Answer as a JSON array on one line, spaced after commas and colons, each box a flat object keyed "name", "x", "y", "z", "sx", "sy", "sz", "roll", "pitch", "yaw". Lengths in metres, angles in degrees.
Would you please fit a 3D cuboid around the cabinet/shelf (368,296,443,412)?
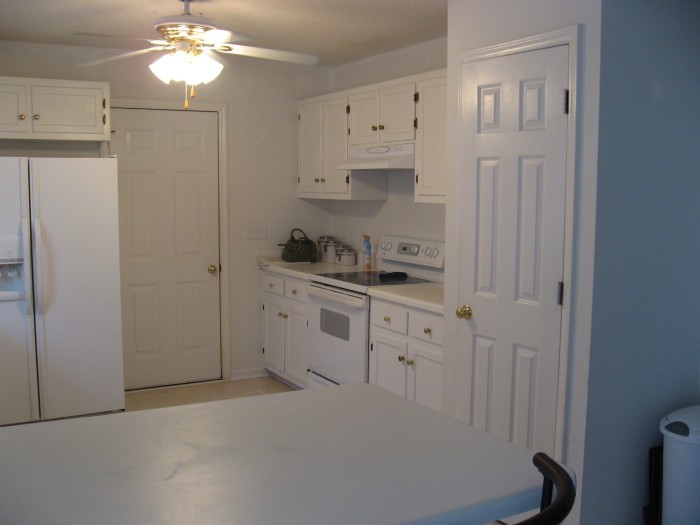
[{"name": "cabinet/shelf", "x": 0.354, "y": 0.529, "z": 3.347, "sx": 0.321, "sy": 0.564, "sz": 0.610, "roll": 0, "pitch": 4, "yaw": -31}]

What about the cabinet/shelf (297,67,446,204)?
[{"name": "cabinet/shelf", "x": 0.093, "y": -0.929, "z": 4.394, "sx": 0.249, "sy": 0.932, "sz": 1.829, "roll": -4, "pitch": 11, "yaw": -31}]

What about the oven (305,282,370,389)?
[{"name": "oven", "x": 0.005, "y": 0.522, "z": 4.341, "sx": 0.569, "sy": 0.792, "sz": 0.513, "roll": 13, "pitch": 15, "yaw": 40}]

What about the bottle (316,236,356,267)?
[{"name": "bottle", "x": -0.119, "y": -0.106, "z": 5.187, "sx": 0.240, "sy": 0.221, "sz": 0.583, "roll": -3, "pitch": 11, "yaw": -26}]

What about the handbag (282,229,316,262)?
[{"name": "handbag", "x": -0.475, "y": -0.161, "z": 5.170, "sx": 0.328, "sy": 0.288, "sz": 0.358, "roll": -1, "pitch": 10, "yaw": -16}]
